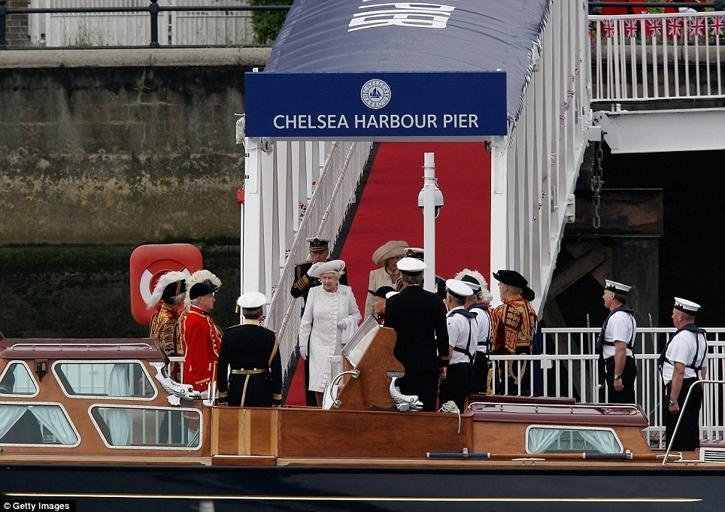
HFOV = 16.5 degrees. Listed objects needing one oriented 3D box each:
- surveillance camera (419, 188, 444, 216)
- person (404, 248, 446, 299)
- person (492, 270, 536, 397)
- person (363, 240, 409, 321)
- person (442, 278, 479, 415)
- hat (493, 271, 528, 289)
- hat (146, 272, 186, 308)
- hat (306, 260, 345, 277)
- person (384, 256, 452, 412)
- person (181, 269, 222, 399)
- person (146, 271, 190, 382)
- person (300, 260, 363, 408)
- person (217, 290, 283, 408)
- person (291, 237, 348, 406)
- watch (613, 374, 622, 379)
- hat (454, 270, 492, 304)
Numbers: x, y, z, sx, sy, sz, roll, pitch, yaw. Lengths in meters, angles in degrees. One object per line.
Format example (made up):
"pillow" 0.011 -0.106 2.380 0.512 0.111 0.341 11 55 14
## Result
"surveillance camera" 1.061 -0.883 36.607 0.502 0.407 0.347 1 2 -21
"person" 0.969 0.123 37.207 0.705 0.696 0.591 4 17 14
"person" 2.236 1.117 37.403 0.836 1.753 0.662 1 9 3
"person" 0.324 0.410 37.663 0.533 1.314 0.593 -5 -1 -1
"person" 1.564 1.429 36.648 0.738 2.152 0.812 -3 1 -1
"hat" 2.210 0.264 37.118 0.513 0.275 0.271 1 2 2
"hat" -2.873 0.411 36.502 0.603 0.545 0.595 1 2 -4
"hat" -0.549 0.110 36.795 0.528 0.265 0.386 1 2 -5
"person" 0.766 1.043 35.288 0.938 2.127 0.415 1 2 -3
"person" -2.358 1.026 36.110 0.705 1.616 0.716 4 13 -3
"person" -2.871 0.913 36.764 0.715 1.533 0.665 -2 14 3
"person" -0.507 1.177 36.859 1.004 2.289 0.751 0 3 3
"person" -1.573 1.215 35.256 0.899 1.557 0.836 2 8 3
"person" -0.862 0.845 37.264 1.076 2.282 0.827 7 15 8
"watch" 3.754 1.689 36.455 0.097 0.059 0.096 1 2 -1
"hat" 1.699 0.351 36.822 0.443 0.577 0.236 -35 -11 0
